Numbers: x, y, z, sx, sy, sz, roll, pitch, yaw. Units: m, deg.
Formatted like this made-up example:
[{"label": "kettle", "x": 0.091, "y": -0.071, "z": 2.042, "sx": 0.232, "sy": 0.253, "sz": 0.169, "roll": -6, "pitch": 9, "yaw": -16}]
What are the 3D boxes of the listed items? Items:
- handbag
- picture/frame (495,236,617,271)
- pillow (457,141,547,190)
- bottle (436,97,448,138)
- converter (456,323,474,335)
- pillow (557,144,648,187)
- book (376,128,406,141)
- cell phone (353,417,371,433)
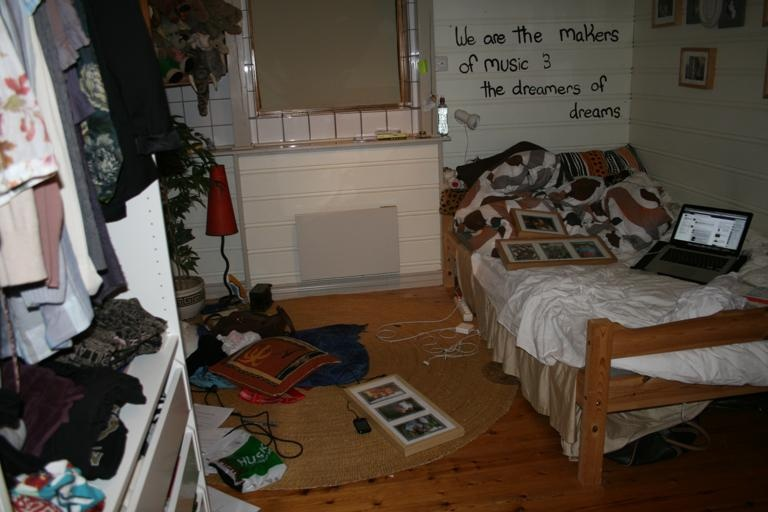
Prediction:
[{"label": "handbag", "x": 1.466, "y": 0.996, "z": 2.789, "sx": 0.317, "sy": 0.101, "sz": 0.240, "roll": -4, "pitch": -4, "yaw": -3}, {"label": "picture/frame", "x": 1.147, "y": -0.032, "z": 3.572, "sx": 0.633, "sy": 0.062, "sz": 0.312, "roll": -2, "pitch": 37, "yaw": -4}, {"label": "pillow", "x": 0.974, "y": -0.796, "z": 4.597, "sx": 0.687, "sy": 0.342, "sz": 0.319, "roll": -2, "pitch": 21, "yaw": 6}, {"label": "bottle", "x": 0.521, "y": -1.229, "z": 4.632, "sx": 0.090, "sy": 0.318, "sz": 0.191, "roll": -1, "pitch": 21, "yaw": 10}, {"label": "converter", "x": 0.619, "y": 0.548, "z": 3.992, "sx": 0.100, "sy": 0.029, "sz": 0.074, "roll": 5, "pitch": 20, "yaw": 22}, {"label": "pillow", "x": 1.897, "y": -0.822, "z": 4.618, "sx": 0.648, "sy": 0.185, "sz": 0.411, "roll": -5, "pitch": 41, "yaw": 1}, {"label": "book", "x": 0.063, "y": -1.056, "z": 4.558, "sx": 0.266, "sy": 0.073, "sz": 0.260, "roll": -5, "pitch": 20, "yaw": -2}, {"label": "cell phone", "x": -0.128, "y": 0.978, "z": 3.071, "sx": 0.096, "sy": 0.043, "sz": 0.137, "roll": -9, "pitch": 21, "yaw": -12}]
